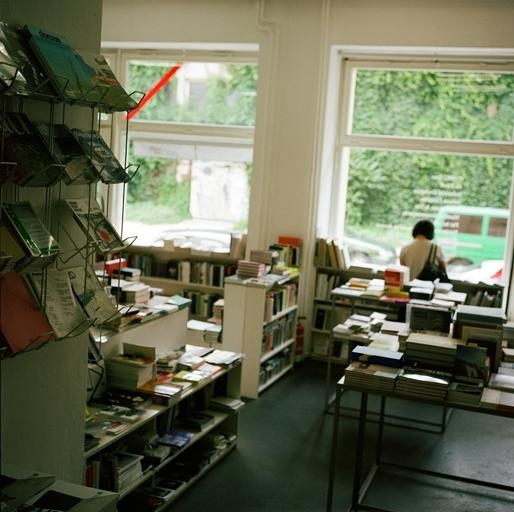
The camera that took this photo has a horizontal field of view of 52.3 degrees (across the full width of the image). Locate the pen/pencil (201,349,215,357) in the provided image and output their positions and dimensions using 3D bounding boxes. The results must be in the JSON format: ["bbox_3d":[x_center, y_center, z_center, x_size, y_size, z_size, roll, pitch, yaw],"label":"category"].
[{"bbox_3d":[-0.392,0.771,4.173,0.026,0.010,0.145,19,14,20],"label":"pen/pencil"}]

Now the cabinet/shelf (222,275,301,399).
[{"bbox_3d":[0.027,0.823,5.319,0.506,1.043,1.305,3,7,18],"label":"cabinet/shelf"}]

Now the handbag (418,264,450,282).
[{"bbox_3d":[1.933,0.205,5.742,0.292,0.311,0.184,-4,-9,0],"label":"handbag"}]

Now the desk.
[{"bbox_3d":[1.175,1.173,3.771,1.571,0.851,0.794,3,3,23],"label":"desk"}]
